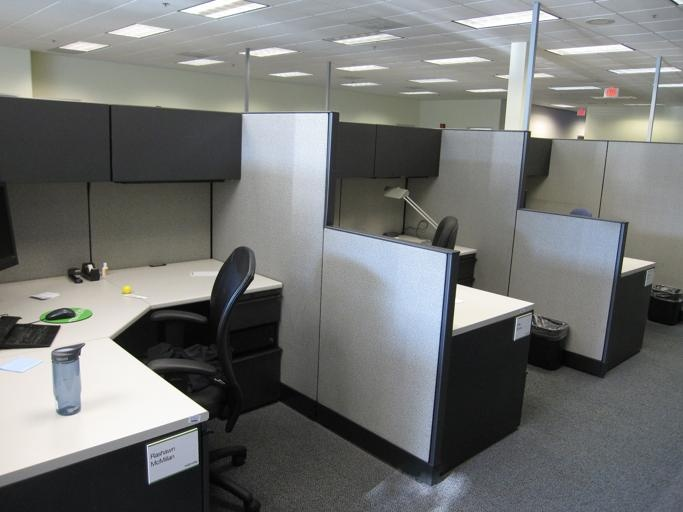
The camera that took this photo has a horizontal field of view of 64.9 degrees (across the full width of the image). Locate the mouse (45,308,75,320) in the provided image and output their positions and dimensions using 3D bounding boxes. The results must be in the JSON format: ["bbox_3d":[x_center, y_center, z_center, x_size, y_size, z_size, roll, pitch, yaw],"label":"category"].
[{"bbox_3d":[-1.424,0.292,2.716,0.059,0.036,0.107,19,14,42],"label":"mouse"}]

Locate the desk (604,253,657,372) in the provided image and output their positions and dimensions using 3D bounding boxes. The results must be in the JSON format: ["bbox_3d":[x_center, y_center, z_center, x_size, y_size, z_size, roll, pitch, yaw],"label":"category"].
[{"bbox_3d":[2.215,0.458,4.147,0.406,0.672,0.715,11,20,36],"label":"desk"}]

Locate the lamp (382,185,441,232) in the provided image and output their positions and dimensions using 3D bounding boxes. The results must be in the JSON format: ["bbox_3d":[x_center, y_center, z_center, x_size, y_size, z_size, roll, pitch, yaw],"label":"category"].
[{"bbox_3d":[0.562,-0.356,4.367,0.413,0.448,1.144,2,13,8],"label":"lamp"}]

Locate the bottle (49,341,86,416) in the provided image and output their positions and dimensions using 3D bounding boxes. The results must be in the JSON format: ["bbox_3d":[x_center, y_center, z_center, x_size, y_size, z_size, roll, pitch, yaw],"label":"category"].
[{"bbox_3d":[-1.032,0.453,2.032,0.115,0.277,0.200,-8,15,-30],"label":"bottle"}]

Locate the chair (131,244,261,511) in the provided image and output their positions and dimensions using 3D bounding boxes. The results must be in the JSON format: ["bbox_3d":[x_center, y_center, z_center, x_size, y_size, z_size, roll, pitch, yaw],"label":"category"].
[{"bbox_3d":[-0.697,0.585,2.698,0.527,1.262,0.658,-5,14,-20],"label":"chair"}]

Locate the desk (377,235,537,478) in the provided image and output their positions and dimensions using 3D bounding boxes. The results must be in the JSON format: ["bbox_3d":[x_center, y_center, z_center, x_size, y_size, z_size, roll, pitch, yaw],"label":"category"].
[{"bbox_3d":[0.643,0.613,3.007,1.238,0.894,0.660,-6,10,-40],"label":"desk"}]

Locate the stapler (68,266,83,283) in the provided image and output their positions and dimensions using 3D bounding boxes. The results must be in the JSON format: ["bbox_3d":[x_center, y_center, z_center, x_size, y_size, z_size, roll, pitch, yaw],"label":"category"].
[{"bbox_3d":[-1.619,0.118,3.266,0.052,0.067,0.181,-4,9,-31],"label":"stapler"}]
